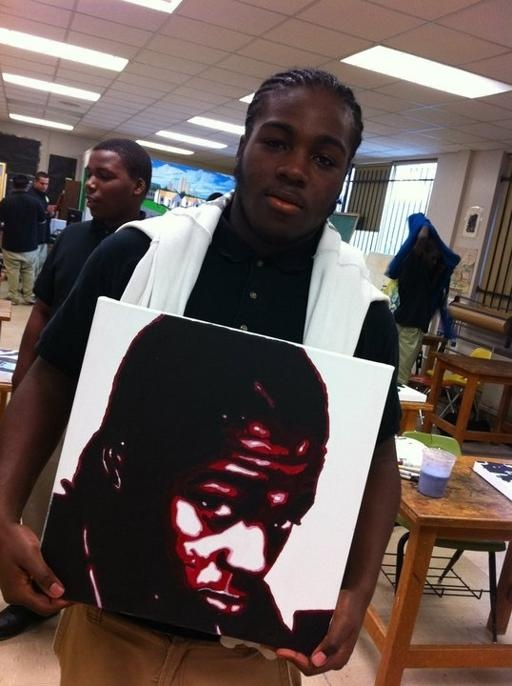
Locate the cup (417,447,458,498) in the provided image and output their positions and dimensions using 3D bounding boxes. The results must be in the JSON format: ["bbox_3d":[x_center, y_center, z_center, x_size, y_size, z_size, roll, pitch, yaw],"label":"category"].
[{"bbox_3d":[0.656,0.478,1.817,0.138,0.147,0.126,15,8,-2],"label":"cup"}]
